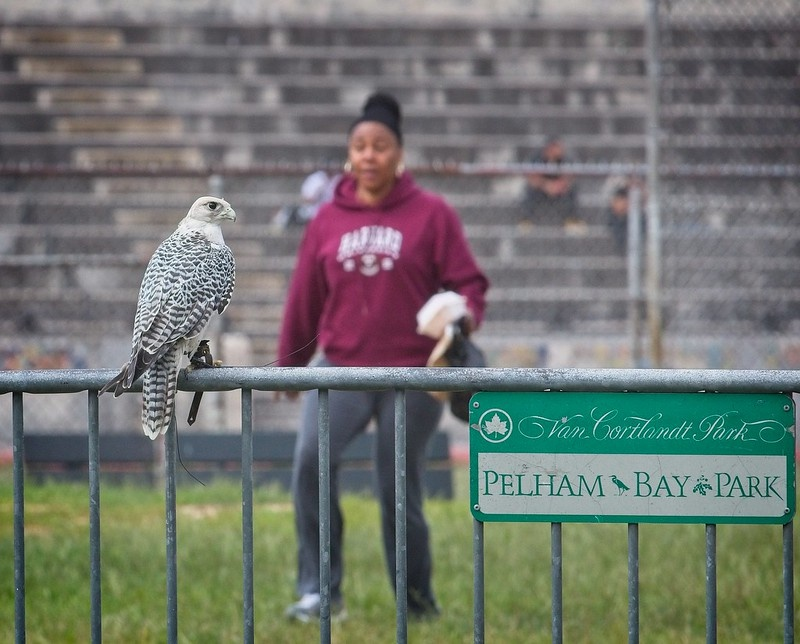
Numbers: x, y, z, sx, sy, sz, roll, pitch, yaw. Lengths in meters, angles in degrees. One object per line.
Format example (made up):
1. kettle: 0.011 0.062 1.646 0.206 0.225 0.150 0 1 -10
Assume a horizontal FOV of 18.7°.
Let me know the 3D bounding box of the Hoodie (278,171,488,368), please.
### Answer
1. Hoodie: -0.138 -0.446 19.267 1.652 1.729 0.861 0 -9 11

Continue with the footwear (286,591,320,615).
1. footwear: -0.743 2.230 18.882 0.263 0.207 0.115 -1 0 11

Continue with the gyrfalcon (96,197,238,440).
1. gyrfalcon: -1.643 -0.050 18.165 0.489 1.825 1.069 -1 0 42
